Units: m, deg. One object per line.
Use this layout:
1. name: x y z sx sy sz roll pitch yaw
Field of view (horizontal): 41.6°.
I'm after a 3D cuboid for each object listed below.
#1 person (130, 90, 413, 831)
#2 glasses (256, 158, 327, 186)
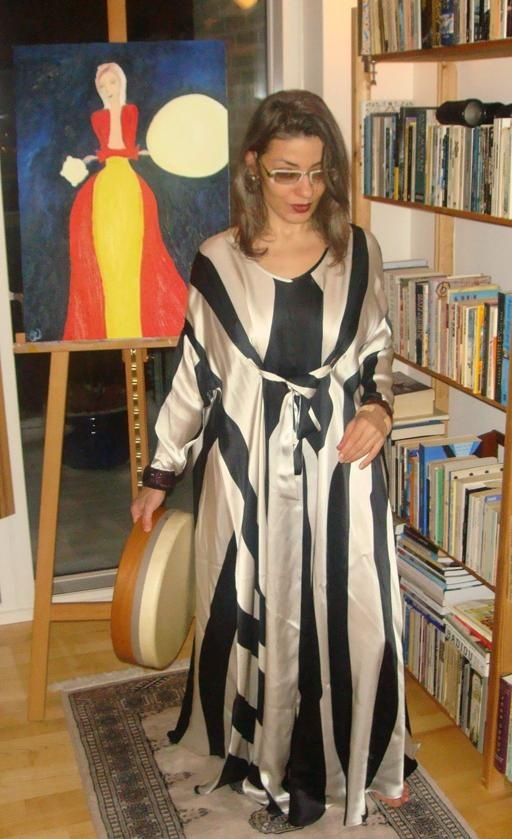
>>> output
1. person: 0.059 0.131 1.407 0.481 1.546 0.366 1 20 8
2. glasses: 0.066 -0.427 1.182 0.106 0.040 0.048 -2 8 0
